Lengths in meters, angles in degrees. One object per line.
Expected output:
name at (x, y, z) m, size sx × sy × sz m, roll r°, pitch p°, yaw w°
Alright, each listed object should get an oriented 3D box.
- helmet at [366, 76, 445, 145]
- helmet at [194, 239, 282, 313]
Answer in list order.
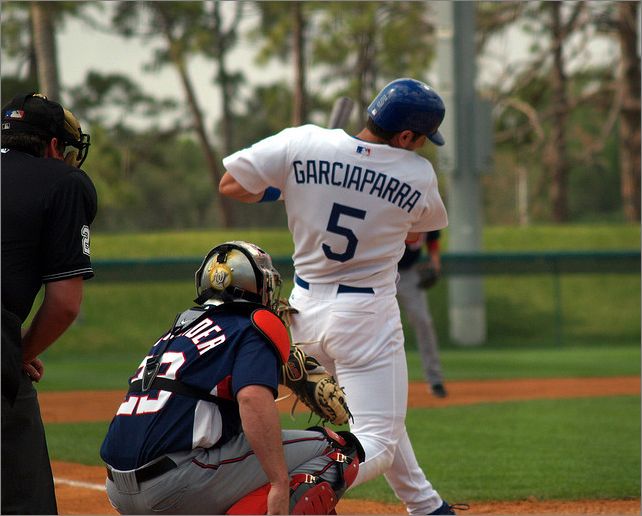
helmet at (0.618, -1.099, 11.559) m, size 0.524 × 0.259 × 0.366 m, roll 15°, pitch 32°, yaw -28°
helmet at (-0.588, 0.121, 11.302) m, size 0.540 × 0.488 × 0.424 m, roll -19°, pitch 18°, yaw -34°
